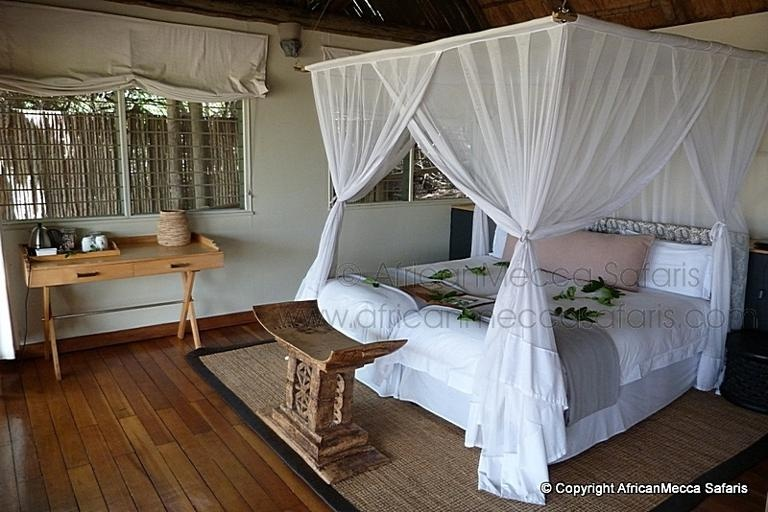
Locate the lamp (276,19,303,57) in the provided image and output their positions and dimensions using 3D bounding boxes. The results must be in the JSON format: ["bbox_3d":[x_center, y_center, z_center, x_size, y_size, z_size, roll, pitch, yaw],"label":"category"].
[{"bbox_3d":[-0.924,-2.170,4.828,0.315,0.302,0.296,0,6,11],"label":"lamp"}]

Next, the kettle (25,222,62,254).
[{"bbox_3d":[-2.894,-0.146,4.055,0.267,0.282,0.189,-7,22,-35],"label":"kettle"}]

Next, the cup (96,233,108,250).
[{"bbox_3d":[-2.475,-0.115,4.218,0.141,0.122,0.095,0,7,-21],"label":"cup"}]

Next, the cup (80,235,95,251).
[{"bbox_3d":[-2.572,-0.108,4.125,0.083,0.120,0.128,-4,13,-11],"label":"cup"}]

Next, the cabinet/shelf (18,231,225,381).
[{"bbox_3d":[-2.334,0.428,4.264,1.502,0.938,0.844,-6,8,-41],"label":"cabinet/shelf"}]
